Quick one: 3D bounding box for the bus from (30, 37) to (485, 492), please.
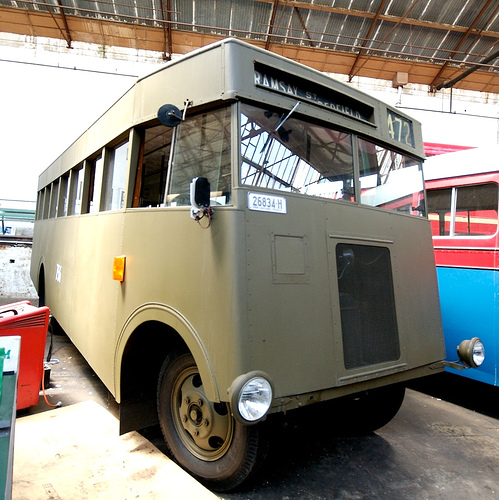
[{"bbox_3d":[-0.669,0.246,4.969,2.839,2.702,4.877,3,-8,-31],"label":"bus"}]

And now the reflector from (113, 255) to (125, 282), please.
[{"bbox_3d":[-1.163,0.161,3.505,0.024,0.239,0.225,3,-2,-32],"label":"reflector"}]
